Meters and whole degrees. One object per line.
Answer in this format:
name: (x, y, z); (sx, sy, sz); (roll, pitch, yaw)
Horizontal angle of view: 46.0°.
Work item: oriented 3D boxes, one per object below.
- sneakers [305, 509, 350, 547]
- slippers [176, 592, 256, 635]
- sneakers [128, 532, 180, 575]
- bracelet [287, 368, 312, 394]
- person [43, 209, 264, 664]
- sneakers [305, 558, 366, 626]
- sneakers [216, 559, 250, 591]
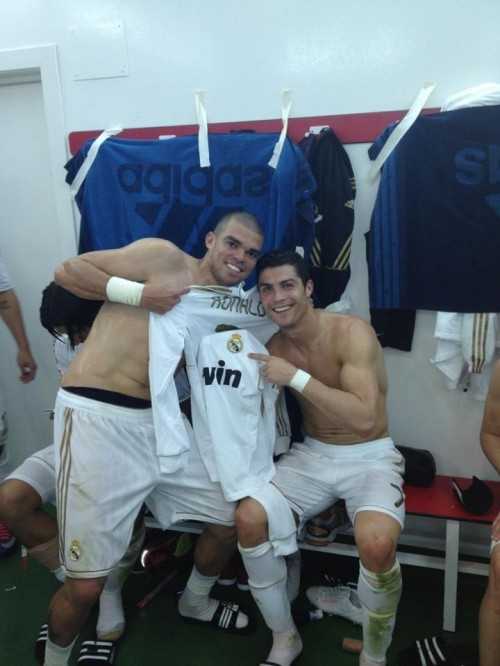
sneakers: (0.291, 0.727, 2.306); (0.083, 0.096, 0.230); (10, 22, 34)
slippers: (-0.121, 1.052, 2.188); (0.278, 0.100, 0.118); (3, 30, 7)
sneakers: (-0.392, 0.930, 2.503); (0.200, 0.112, 0.075); (-14, -1, -39)
bracelet: (0.172, 0.166, 2.032); (0.077, 0.075, 0.027); (32, -5, 26)
person: (-0.360, 0.371, 2.095); (1.021, 1.482, 0.496); (-14, 21, -27)
sneakers: (0.331, 1.016, 2.315); (0.299, 0.152, 0.111); (20, 30, 37)
sneakers: (-0.065, 0.997, 2.404); (0.089, 0.040, 0.139); (2, 9, -1)
